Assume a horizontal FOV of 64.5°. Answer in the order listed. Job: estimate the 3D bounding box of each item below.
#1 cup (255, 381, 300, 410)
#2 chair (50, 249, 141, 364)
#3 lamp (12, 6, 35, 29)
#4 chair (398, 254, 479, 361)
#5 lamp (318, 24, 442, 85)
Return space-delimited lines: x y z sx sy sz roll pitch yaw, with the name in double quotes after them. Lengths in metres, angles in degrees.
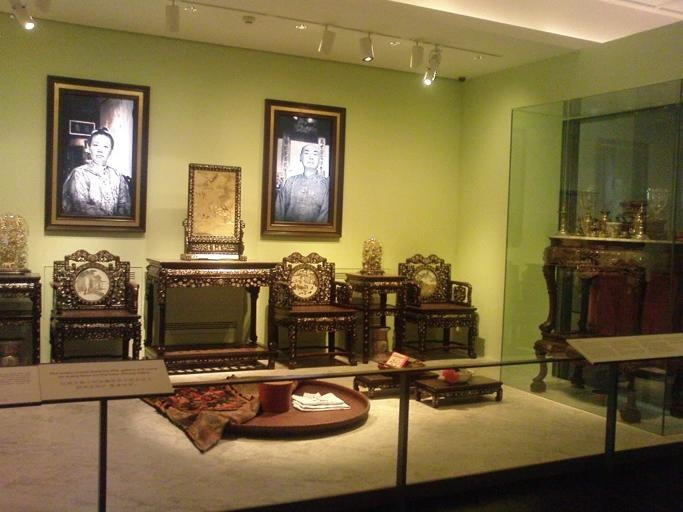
-0.438 0.973 3.785 0.242 0.181 0.313 1 2 1 "cup"
-2.514 0.529 5.530 0.811 1.180 0.930 0 3 -27 "chair"
-2.839 -2.150 4.845 0.147 0.251 0.225 0 3 -26 "lamp"
1.211 0.626 6.984 1.188 1.293 0.805 0 3 -17 "chair"
0.403 -2.318 6.141 1.316 0.453 0.270 16 2 0 "lamp"
